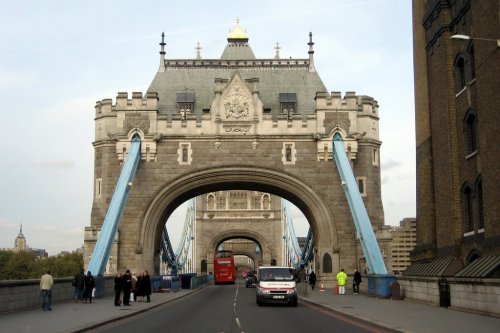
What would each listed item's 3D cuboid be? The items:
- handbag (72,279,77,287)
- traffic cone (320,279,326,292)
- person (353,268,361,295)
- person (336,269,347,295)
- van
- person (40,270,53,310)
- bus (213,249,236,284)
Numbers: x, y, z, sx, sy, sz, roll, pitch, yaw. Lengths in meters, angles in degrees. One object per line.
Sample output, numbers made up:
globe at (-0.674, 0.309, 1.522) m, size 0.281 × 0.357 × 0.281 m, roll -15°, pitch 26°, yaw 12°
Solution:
handbag at (-10.951, 7.201, 45.707) m, size 0.298 × 0.479 × 0.480 m, roll 3°, pitch -17°, yaw -15°
traffic cone at (5.785, 9.443, 57.923) m, size 0.651 × 0.764 × 0.670 m, roll -1°, pitch -14°, yaw -3°
person at (7.739, 8.221, 52.461) m, size 0.624 × 1.903 × 1.321 m, roll -4°, pitch -16°, yaw 7°
person at (6.626, 8.255, 52.250) m, size 0.638 × 1.731 × 1.116 m, roll -4°, pitch -16°, yaw 7°
van at (1.638, 7.182, 44.490) m, size 1.542 × 1.421 × 2.968 m, roll -1°, pitch -19°, yaw -1°
person at (-11.540, 7.011, 41.445) m, size 0.684 × 2.218 × 1.220 m, roll 3°, pitch -17°, yaw -15°
bus at (-2.716, 10.632, 78.612) m, size 2.037 × 3.292 × 1.414 m, roll 1°, pitch -16°, yaw -10°
